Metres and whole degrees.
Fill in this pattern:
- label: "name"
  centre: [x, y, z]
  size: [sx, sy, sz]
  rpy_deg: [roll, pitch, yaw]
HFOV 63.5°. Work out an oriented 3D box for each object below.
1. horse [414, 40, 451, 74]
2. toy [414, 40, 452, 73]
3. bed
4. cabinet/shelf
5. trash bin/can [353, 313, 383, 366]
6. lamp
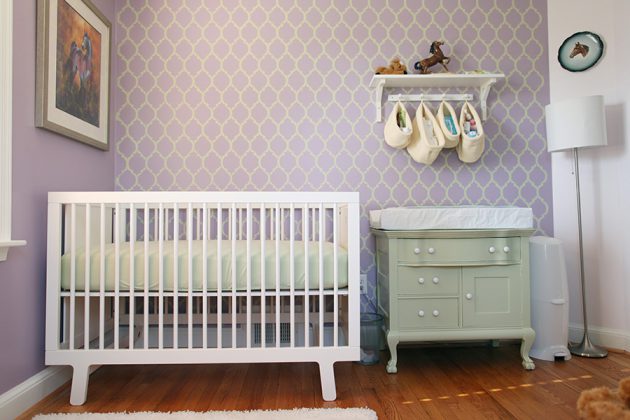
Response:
- label: "horse"
  centre: [0.907, -1.161, 3.894]
  size: [0.282, 0.272, 0.118]
  rpy_deg: [-3, -4, -3]
- label: "toy"
  centre: [0.907, -1.161, 3.894]
  size: [0.282, 0.272, 0.118]
  rpy_deg: [-3, -4, -3]
- label: "bed"
  centre: [-0.767, 0.531, 3.713]
  size: [1.972, 1.386, 1.095]
  rpy_deg: [1, 5, -11]
- label: "cabinet/shelf"
  centre: [0.929, 0.533, 3.861]
  size: [1.143, 1.141, 0.887]
  rpy_deg: [0, -8, -1]
- label: "trash bin/can"
  centre: [0.390, 0.909, 3.713]
  size: [0.262, 0.409, 0.317]
  rpy_deg: [-1, 0, 10]
- label: "lamp"
  centre: [1.976, 0.127, 3.700]
  size: [0.414, 1.846, 0.391]
  rpy_deg: [-5, -5, 26]
